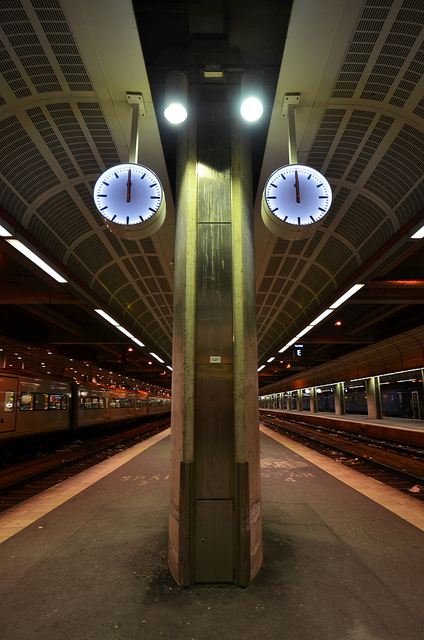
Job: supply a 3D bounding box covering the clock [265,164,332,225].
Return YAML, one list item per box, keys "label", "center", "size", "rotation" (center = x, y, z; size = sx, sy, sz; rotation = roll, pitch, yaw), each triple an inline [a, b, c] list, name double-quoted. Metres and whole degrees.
- label: "clock"
  center: [0.938, -1.315, 4.038]
  size: [0.725, 0.724, 0.096]
  rotation: [0, -8, 2]

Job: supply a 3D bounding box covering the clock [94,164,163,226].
- label: "clock"
  center: [-0.894, -1.304, 4.007]
  size: [0.695, 0.706, 0.166]
  rotation: [16, -4, -2]
